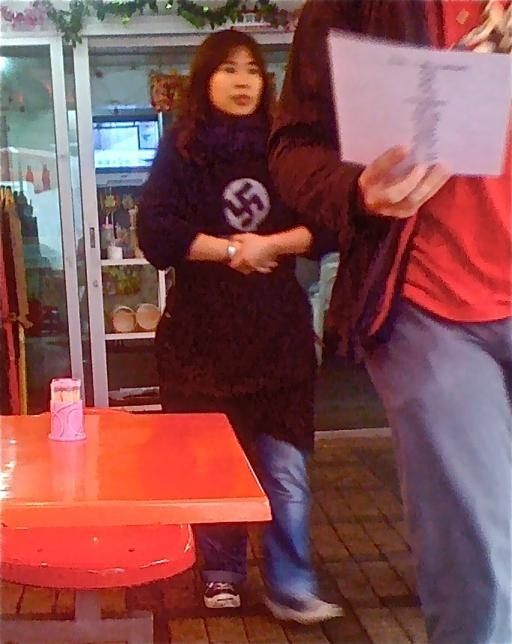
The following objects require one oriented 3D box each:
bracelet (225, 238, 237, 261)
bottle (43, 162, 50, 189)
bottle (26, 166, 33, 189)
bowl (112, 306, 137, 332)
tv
[{"bbox_3d":[-0.071,-0.206,1.905,0.024,0.051,0.048,3,59,0],"label":"bracelet"},{"bbox_3d":[-1.295,-0.902,4.174,0.063,0.164,0.042,1,8,6],"label":"bottle"},{"bbox_3d":[-1.409,-0.917,4.181,0.039,0.107,0.064,-7,11,-43],"label":"bottle"},{"bbox_3d":[-0.833,-0.031,4.297,0.173,0.147,0.177,5,13,-1],"label":"bowl"},{"bbox_3d":[-0.793,-1.045,4.104,0.507,0.430,0.048,8,8,30],"label":"tv"}]
